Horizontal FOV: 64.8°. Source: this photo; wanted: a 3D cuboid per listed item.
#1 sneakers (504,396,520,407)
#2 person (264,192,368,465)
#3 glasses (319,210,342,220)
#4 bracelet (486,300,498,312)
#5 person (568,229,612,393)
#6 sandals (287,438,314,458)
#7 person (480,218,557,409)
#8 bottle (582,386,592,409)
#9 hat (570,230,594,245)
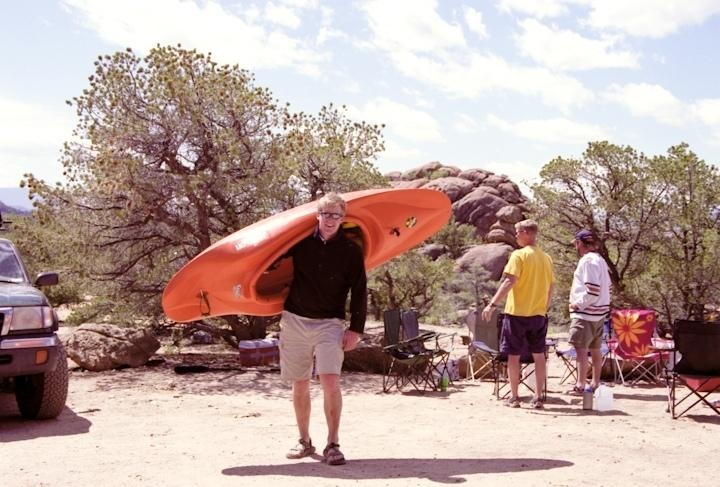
[{"bbox_3d":[2.246,2.304,8.380,0.119,0.134,0.301,1,1,-1],"label":"sneakers"},{"bbox_3d":[-0.416,0.885,6.113,0.924,2.849,0.439,4,-5,2],"label":"person"},{"bbox_3d":[-0.317,-0.299,6.032,0.244,0.075,0.081,4,-5,0],"label":"glasses"},{"bbox_3d":[1.858,0.877,7.945,0.124,0.159,0.062,42,-14,48],"label":"bracelet"},{"bbox_3d":[3.474,1.008,8.586,0.490,2.446,0.575,0,-6,42],"label":"person"},{"bbox_3d":[-0.609,2.225,6.236,0.131,0.154,0.378,-4,-10,38],"label":"sandals"},{"bbox_3d":[2.326,0.978,8.063,0.911,2.638,0.358,5,-5,-16],"label":"person"},{"bbox_3d":[3.242,2.196,8.033,0.130,0.249,0.064,4,-5,5],"label":"bottle"},{"bbox_3d":[3.460,-0.113,8.742,0.196,0.128,0.283,11,9,0],"label":"hat"}]
